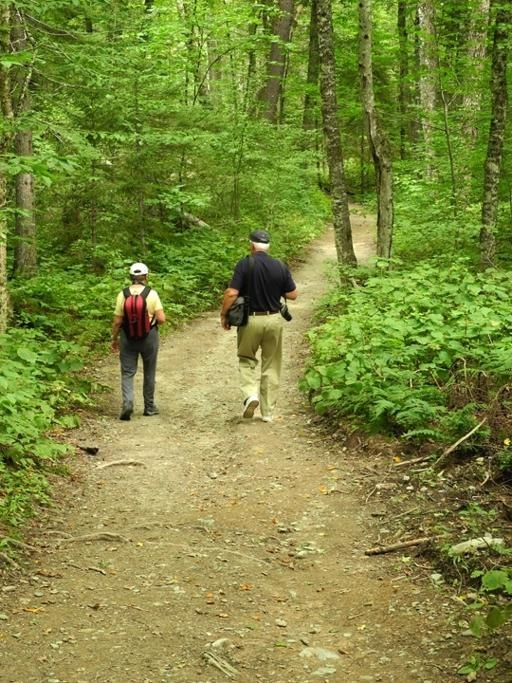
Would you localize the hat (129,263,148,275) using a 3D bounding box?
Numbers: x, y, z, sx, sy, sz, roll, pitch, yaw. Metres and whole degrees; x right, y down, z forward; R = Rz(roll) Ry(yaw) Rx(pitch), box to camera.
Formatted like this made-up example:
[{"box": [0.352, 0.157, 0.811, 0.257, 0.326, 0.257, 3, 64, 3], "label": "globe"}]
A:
[{"box": [-1.371, -0.835, 9.174, 0.188, 0.111, 0.232, -2, 22, -4], "label": "hat"}]

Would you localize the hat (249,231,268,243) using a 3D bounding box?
[{"box": [0.033, -1.142, 8.574, 0.178, 0.130, 0.189, -2, 14, -10], "label": "hat"}]

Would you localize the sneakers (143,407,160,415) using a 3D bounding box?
[{"box": [-1.261, 0.837, 9.384, 0.089, 0.078, 0.183, 6, 18, 23], "label": "sneakers"}]

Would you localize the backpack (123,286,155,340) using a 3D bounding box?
[{"box": [-1.397, -0.310, 9.094, 0.344, 0.631, 0.192, -2, 16, -8], "label": "backpack"}]

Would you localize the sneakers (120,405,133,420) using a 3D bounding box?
[{"box": [-1.517, 0.828, 9.097, 0.094, 0.222, 0.159, 11, 39, -17], "label": "sneakers"}]

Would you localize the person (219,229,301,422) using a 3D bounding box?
[{"box": [0.039, -0.139, 8.650, 0.823, 2.123, 0.419, -3, 16, -11], "label": "person"}]
